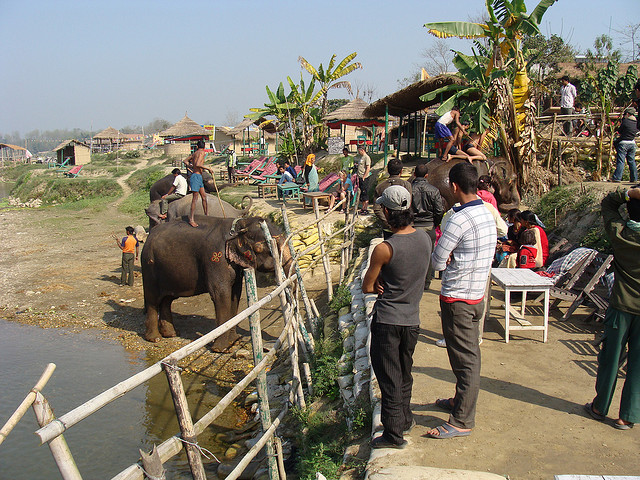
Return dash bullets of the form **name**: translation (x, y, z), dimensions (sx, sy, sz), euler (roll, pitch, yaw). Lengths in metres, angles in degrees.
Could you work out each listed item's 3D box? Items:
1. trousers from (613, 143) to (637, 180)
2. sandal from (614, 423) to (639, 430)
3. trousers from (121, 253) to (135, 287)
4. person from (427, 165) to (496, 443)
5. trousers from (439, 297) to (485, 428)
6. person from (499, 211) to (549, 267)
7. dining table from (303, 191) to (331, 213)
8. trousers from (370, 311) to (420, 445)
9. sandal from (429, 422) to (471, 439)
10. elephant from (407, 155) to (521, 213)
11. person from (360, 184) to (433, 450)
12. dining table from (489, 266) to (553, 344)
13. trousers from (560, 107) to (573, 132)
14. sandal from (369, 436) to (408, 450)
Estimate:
- **trousers**: translation (6.569, -1.691, 10.963), dimensions (0.387, 0.826, 0.604), euler (6, 16, 29)
- **sandal**: translation (3.013, 1.816, 5.008), dimensions (0.183, 0.083, 0.070), euler (3, -1, -5)
- **trousers**: translation (-4.928, 0.738, 13.034), dimensions (0.304, 0.819, 0.327), euler (-1, 14, 4)
- **person**: translation (1.349, 0.586, 4.877), dimensions (0.546, 2.524, 0.898), euler (3, 15, 20)
- **trousers**: translation (1.335, 1.181, 4.900), dimensions (0.361, 1.188, 0.379), euler (1, 15, 14)
- **person**: translation (3.323, -0.045, 8.167), dimensions (0.804, 1.127, 0.805), euler (3, 8, 17)
- **dining table**: translation (-0.244, -1.218, 15.139), dimensions (0.855, 0.687, 0.892), euler (-2, 4, -29)
- **trousers**: translation (0.679, 1.287, 4.768), dimensions (0.431, 1.189, 0.334), euler (0, 14, 10)
- **sandal**: translation (1.225, 1.838, 4.901), dimensions (0.350, 0.106, 0.144), euler (3, -4, -7)
- **elephant**: translation (3.052, -1.201, 10.699), dimensions (2.513, 1.564, 1.262), euler (-3, 3, -14)
- **person**: translation (0.741, 0.938, 4.811), dimensions (0.646, 2.001, 0.618), euler (-4, 14, -8)
- **dining table**: translation (2.761, 0.885, 7.192), dimensions (0.543, 0.747, 1.487), euler (0, 3, 11)
- **trousers**: translation (7.383, -3.633, 15.352), dimensions (0.379, 0.711, 0.933), euler (5, 16, 25)
- **sandal**: translation (0.644, 1.873, 4.810), dimensions (0.318, 0.124, 0.132), euler (-1, -4, 14)
